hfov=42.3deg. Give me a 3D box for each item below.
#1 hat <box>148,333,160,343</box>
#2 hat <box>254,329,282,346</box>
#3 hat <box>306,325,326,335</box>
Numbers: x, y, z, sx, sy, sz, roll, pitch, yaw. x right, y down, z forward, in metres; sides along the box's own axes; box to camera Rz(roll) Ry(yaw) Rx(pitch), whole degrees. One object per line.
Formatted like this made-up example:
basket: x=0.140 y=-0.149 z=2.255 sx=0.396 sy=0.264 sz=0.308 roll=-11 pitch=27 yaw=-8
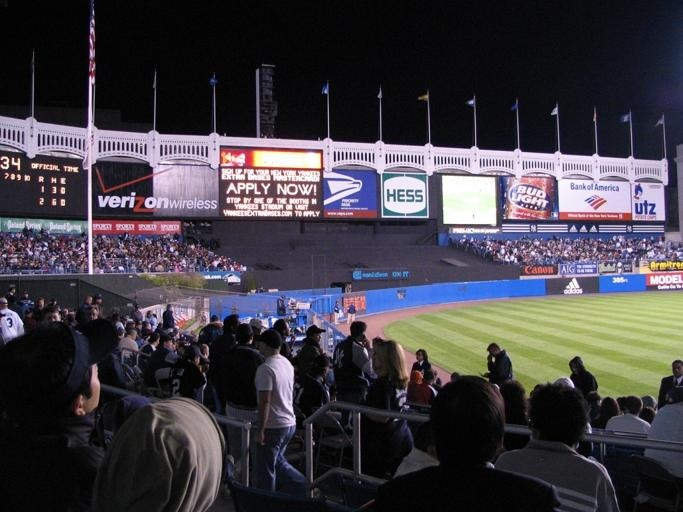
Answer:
hat: x=-5.991 y=2.629 z=28.323 sx=0.259 sy=0.326 sz=0.323 roll=17 pitch=34 yaw=-8
hat: x=-1.915 y=2.266 z=24.096 sx=0.586 sy=0.487 sz=0.348 roll=3 pitch=-3 yaw=0
hat: x=-0.743 y=2.308 z=26.802 sx=0.544 sy=0.340 sz=0.348 roll=-8 pitch=4 yaw=-17
